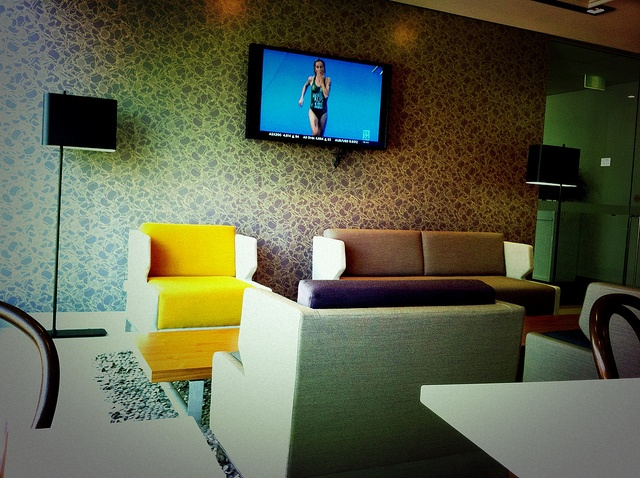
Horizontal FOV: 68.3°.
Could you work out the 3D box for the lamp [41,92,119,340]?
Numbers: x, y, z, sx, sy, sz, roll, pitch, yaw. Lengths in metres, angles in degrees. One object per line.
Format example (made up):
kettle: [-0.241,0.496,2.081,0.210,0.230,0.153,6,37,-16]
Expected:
lamp: [-1.834,-0.167,3.621,0.472,1.815,0.537,-1,2,-31]

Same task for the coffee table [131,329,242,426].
coffee table: [-0.681,0.770,2.377,0.392,0.140,0.581,2,0,-15]

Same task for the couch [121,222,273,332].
couch: [-1.044,0.294,3.911,1.081,1.020,1.017,1,-5,-27]
